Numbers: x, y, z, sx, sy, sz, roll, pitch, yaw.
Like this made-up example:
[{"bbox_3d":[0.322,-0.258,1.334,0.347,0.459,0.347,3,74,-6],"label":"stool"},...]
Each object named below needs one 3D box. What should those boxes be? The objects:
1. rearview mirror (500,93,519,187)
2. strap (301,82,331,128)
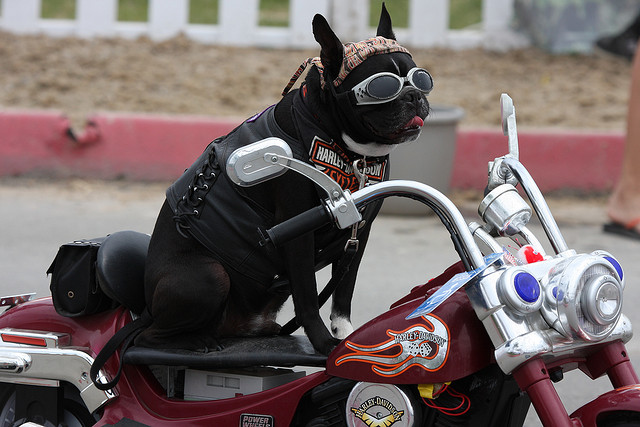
[{"bbox_3d":[0.846,-0.329,3.864,0.077,0.388,0.098,-2,-3,-5],"label":"rearview mirror"},{"bbox_3d":[-0.015,-0.496,4.097,0.102,0.218,0.097,10,23,41],"label":"strap"}]
